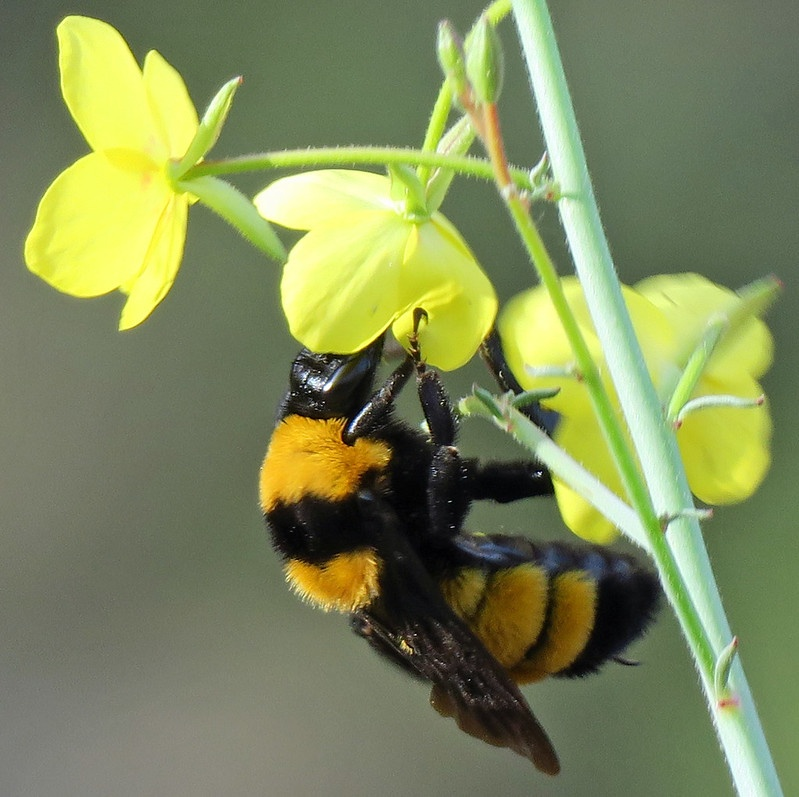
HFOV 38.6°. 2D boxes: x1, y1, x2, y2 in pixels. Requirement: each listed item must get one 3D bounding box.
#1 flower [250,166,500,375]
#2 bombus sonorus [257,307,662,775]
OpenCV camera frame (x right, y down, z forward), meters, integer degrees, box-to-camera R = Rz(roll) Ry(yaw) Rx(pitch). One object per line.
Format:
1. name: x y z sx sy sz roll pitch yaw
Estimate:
1. flower: -0.013 -0.068 0.618 0.125 0.084 0.100 -4 72 -1
2. bombus sonorus: 0.022 0.093 0.873 0.254 0.262 0.308 1 101 -9
